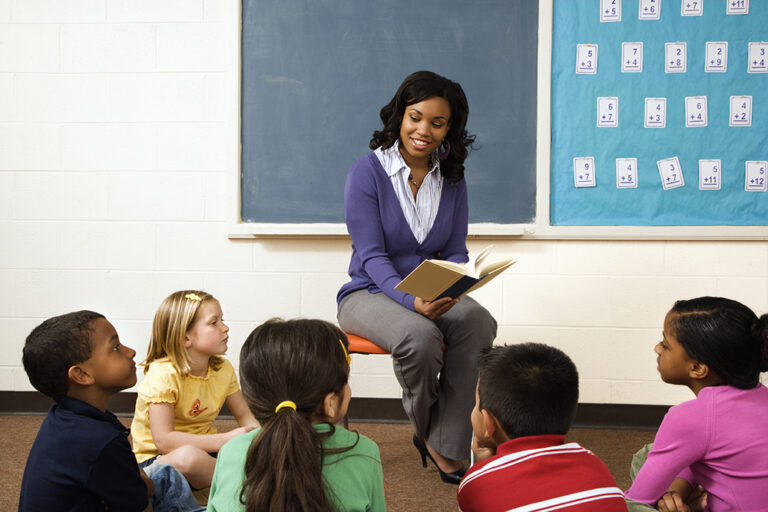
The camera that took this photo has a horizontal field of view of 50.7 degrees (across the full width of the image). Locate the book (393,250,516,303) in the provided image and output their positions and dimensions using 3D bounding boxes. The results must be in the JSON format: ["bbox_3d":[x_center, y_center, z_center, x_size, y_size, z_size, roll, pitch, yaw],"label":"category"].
[{"bbox_3d":[0.247,0.100,3.314,0.225,0.118,0.309,1,-19,-20],"label":"book"}]

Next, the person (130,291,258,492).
[{"bbox_3d":[-0.761,0.566,3.443,0.539,0.865,0.529,-3,5,-36],"label":"person"}]

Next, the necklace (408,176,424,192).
[{"bbox_3d":[0.130,-0.324,3.691,0.052,0.079,0.027,0,-7,-8],"label":"necklace"}]
